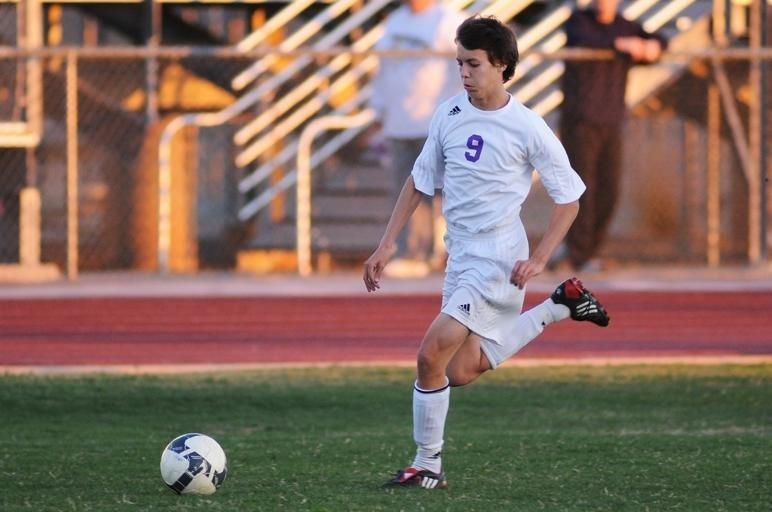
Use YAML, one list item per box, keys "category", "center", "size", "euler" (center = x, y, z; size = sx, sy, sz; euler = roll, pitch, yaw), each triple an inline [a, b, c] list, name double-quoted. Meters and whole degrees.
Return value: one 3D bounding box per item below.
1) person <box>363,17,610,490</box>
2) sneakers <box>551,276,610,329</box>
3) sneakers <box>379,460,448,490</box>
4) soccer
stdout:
- category: "person"
  center: [0.603, -0.045, 12.757]
  size: [1.425, 3.083, 0.701]
  euler: [3, 5, -4]
- category: "sneakers"
  center: [1.336, 0.308, 13.298]
  size: [0.199, 0.244, 0.554]
  euler: [27, 0, 38]
- category: "sneakers"
  center: [0.205, 1.411, 12.547]
  size: [0.411, 0.157, 0.155]
  euler: [2, -9, -2]
- category: "soccer"
  center: [-1.264, 1.427, 12.569]
  size: [0.353, 0.344, 0.346]
  euler: [-23, 5, 27]
